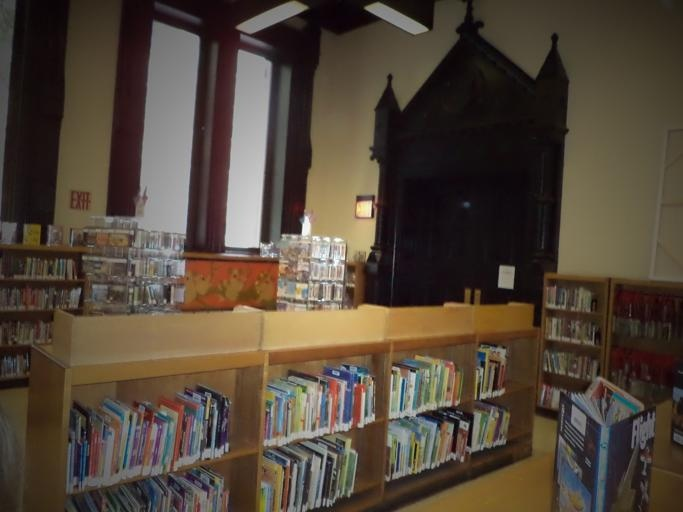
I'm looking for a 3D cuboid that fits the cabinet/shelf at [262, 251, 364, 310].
[{"bbox_3d":[-0.358,0.253,5.280,0.689,0.594,0.404,2,3,-22],"label":"cabinet/shelf"}]
